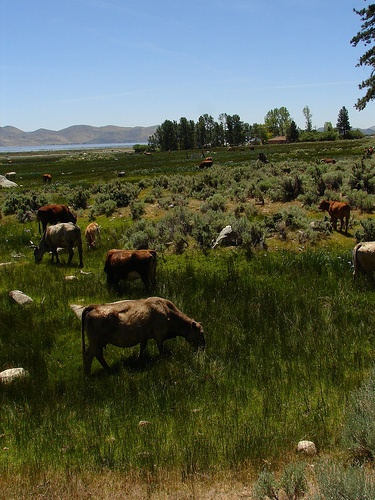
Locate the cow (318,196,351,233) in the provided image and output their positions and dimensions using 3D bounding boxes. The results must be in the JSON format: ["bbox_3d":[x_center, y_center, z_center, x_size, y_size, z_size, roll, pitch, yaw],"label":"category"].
[{"bbox_3d":[5.993,-1.372,16.946,0.841,1.183,1.641,0,12,15],"label":"cow"}]

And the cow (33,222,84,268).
[{"bbox_3d":[-4.455,-0.209,14.597,2.341,1.467,0.789,6,14,37],"label":"cow"}]

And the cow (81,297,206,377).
[{"bbox_3d":[-0.724,1.418,7.356,2.151,1.291,0.602,0,2,-26],"label":"cow"}]

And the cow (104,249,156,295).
[{"bbox_3d":[-1.458,0.476,10.586,1.295,0.999,0.520,1,12,20],"label":"cow"}]
